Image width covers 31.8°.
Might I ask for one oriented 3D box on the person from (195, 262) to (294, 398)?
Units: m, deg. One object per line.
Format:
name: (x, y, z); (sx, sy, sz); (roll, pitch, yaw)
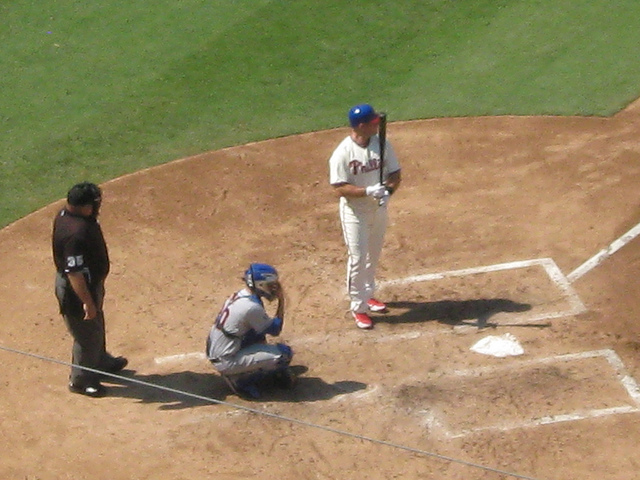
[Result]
person: (-0.961, 1.233, 14.560); (1.191, 1.378, 1.001); (-13, 50, -26)

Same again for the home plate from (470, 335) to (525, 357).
home plate: (2.315, 1.367, 14.525); (0.579, 0.018, 0.267); (-1, 37, 3)

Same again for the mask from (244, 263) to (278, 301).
mask: (-0.673, 0.478, 14.146); (0.509, 0.410, 0.352); (19, 18, -7)
